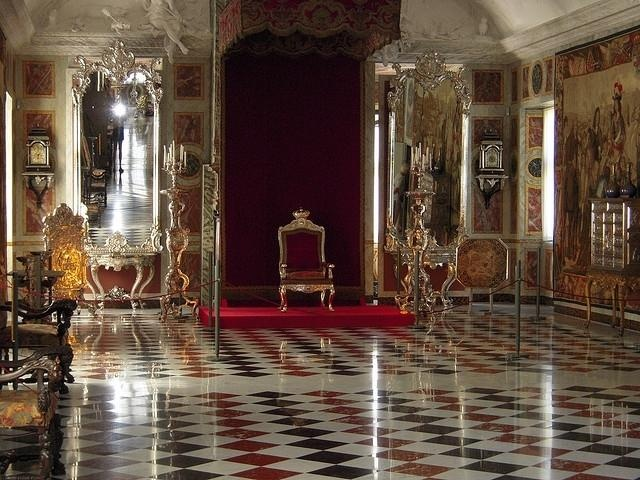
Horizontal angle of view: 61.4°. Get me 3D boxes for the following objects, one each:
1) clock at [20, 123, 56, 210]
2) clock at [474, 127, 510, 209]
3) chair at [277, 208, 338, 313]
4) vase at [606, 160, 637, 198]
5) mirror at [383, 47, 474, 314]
[{"bbox_3d":[-5.570,-1.402,10.690,0.536,1.585,0.233,0,-1,-1],"label":"clock"},{"bbox_3d":[3.696,-1.544,11.742,0.639,1.664,0.285,1,-1,-19],"label":"clock"},{"bbox_3d":[-0.256,0.335,9.854,0.994,1.853,1.174,0,-1,-1],"label":"chair"},{"bbox_3d":[4.809,-0.956,8.725,0.374,0.620,0.927,0,-1,3],"label":"vase"},{"bbox_3d":[2.108,-1.276,10.774,1.672,5.386,2.336,0,-1,17],"label":"mirror"}]
